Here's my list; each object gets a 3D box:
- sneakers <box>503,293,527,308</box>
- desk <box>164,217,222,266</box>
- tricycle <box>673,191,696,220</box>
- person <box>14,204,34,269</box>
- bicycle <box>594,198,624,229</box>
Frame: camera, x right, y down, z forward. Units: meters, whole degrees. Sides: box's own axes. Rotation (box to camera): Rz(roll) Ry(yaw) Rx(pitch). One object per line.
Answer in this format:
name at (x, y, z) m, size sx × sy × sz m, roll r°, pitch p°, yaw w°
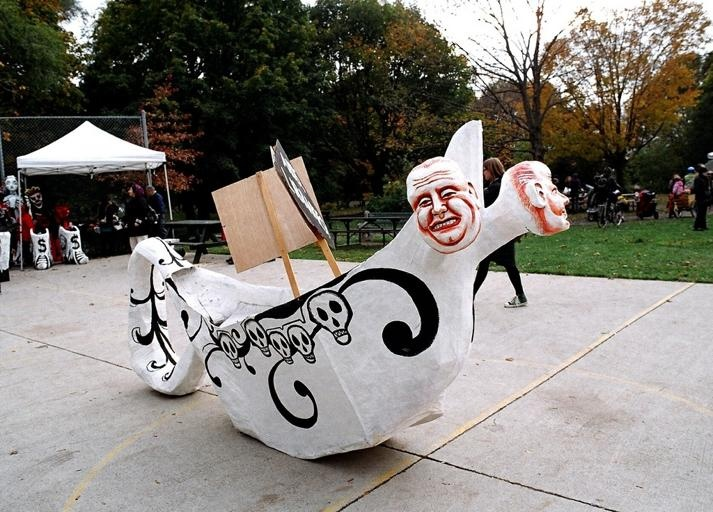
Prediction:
sneakers at (2.310, 0.659, 8.460) m, size 0.361 × 0.177 × 0.155 m, roll -3°, pitch 2°, yaw 5°
desk at (-3.981, -0.358, 14.527) m, size 1.795 × 1.035 × 1.765 m, roll 2°, pitch 5°, yaw 26°
tricycle at (10.664, -1.666, 18.940) m, size 0.624 × 0.717 × 0.873 m, roll -3°, pitch 0°, yaw 40°
person at (-8.589, -0.733, 15.138) m, size 0.299 × 1.315 × 0.289 m, roll 6°, pitch -1°, yaw 23°
bicycle at (7.692, -1.267, 17.668) m, size 0.579 × 0.731 × 1.082 m, roll -8°, pitch 1°, yaw 42°
